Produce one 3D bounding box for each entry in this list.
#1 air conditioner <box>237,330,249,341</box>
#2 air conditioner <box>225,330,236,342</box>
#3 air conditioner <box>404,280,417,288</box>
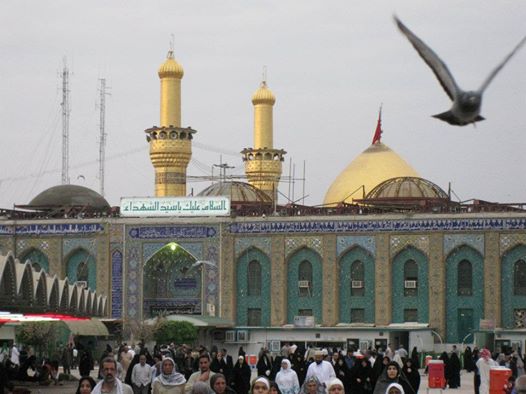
[{"bbox_3d":[-0.781,5.883,63.304,0.479,0.465,0.441,1,2,-3],"label":"air conditioner"},{"bbox_3d":[-1.302,5.896,63.419,0.385,0.429,0.518,1,2,-2],"label":"air conditioner"},{"bbox_3d":[6.316,3.772,64.375,0.504,0.336,0.124,1,2,6],"label":"air conditioner"}]
